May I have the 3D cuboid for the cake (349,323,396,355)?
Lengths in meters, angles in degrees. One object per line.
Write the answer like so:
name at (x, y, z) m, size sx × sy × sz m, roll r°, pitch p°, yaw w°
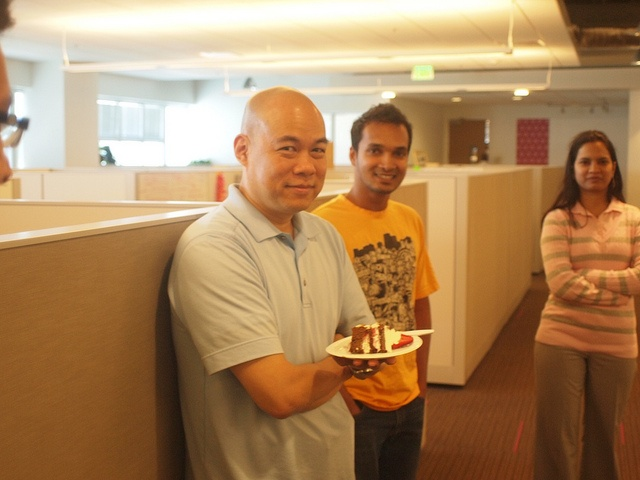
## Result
cake at (0.132, 0.227, 1.205) m, size 0.075 × 0.047 × 0.074 m, roll 3°, pitch -5°, yaw -42°
